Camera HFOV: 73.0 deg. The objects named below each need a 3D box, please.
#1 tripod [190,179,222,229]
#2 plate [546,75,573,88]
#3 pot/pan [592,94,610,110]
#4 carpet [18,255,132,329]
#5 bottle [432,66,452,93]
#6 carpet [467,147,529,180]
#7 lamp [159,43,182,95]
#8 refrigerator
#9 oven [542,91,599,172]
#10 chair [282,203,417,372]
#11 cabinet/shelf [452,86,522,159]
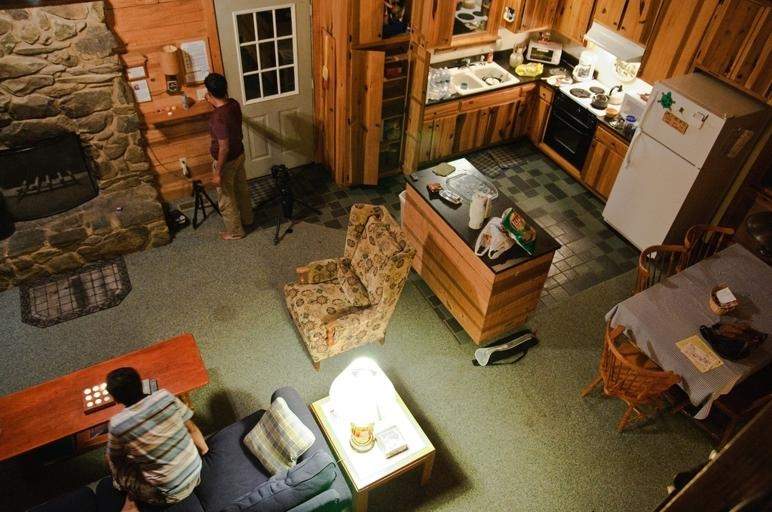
[{"bbox_3d":[-2.440,-0.691,7.082,0.338,0.647,0.448,-22,82,-16],"label":"tripod"},{"bbox_3d":[2.640,-2.673,7.929,0.301,0.053,0.232,22,53,26],"label":"plate"},{"bbox_3d":[3.066,-2.215,7.525,0.243,0.168,0.167,-35,61,-14],"label":"pot/pan"},{"bbox_3d":[-3.736,0.445,6.315,1.214,0.198,0.688,-16,44,-18],"label":"carpet"},{"bbox_3d":[0.815,-2.576,7.626,0.332,0.392,0.264,-7,52,-6],"label":"bottle"},{"bbox_3d":[1.783,-1.533,8.305,0.682,0.077,0.632,-30,53,-27],"label":"carpet"},{"bbox_3d":[-2.601,-2.272,6.396,0.271,0.566,0.209,-14,44,-15],"label":"lamp"},{"bbox_3d":[3.762,-1.075,6.425,1.060,2.246,1.228,-23,54,-22],"label":"refrigerator"},{"bbox_3d":[3.008,-1.962,8.047,0.719,1.017,0.884,-17,48,-21],"label":"oven"},{"bbox_3d":[-0.452,0.344,5.849,1.277,1.330,1.045,-17,45,-27],"label":"chair"},{"bbox_3d":[1.529,-2.107,8.062,0.936,0.751,0.534,-20,53,-16],"label":"cabinet/shelf"}]
